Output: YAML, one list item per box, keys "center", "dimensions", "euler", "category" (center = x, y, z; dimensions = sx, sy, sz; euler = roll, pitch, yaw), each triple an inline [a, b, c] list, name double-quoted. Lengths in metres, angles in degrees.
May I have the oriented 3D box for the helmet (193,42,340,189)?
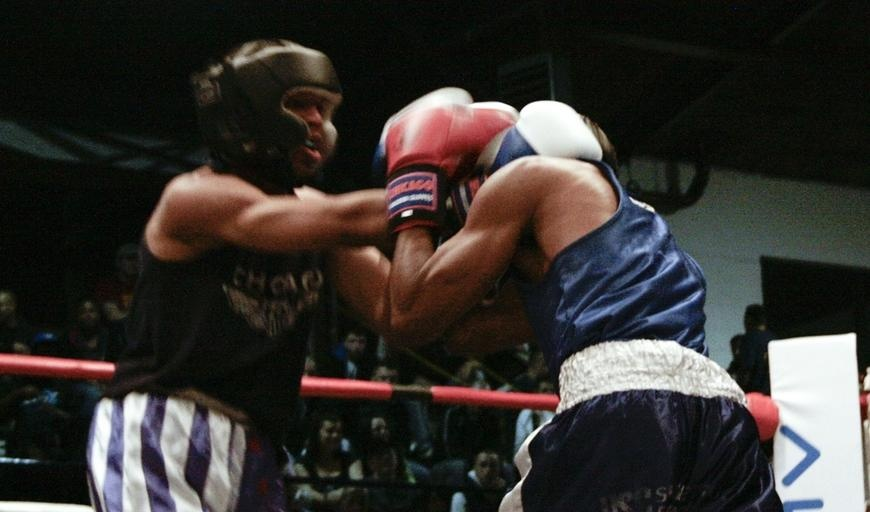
- center: [-0.635, -0.584, 4.543]
  dimensions: [0.651, 0.552, 0.493]
  euler: [-10, 0, 14]
  category: "helmet"

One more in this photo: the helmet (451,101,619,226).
- center: [0.314, -0.408, 4.132]
  dimensions: [0.600, 0.274, 0.431]
  euler: [-24, 18, 6]
  category: "helmet"
